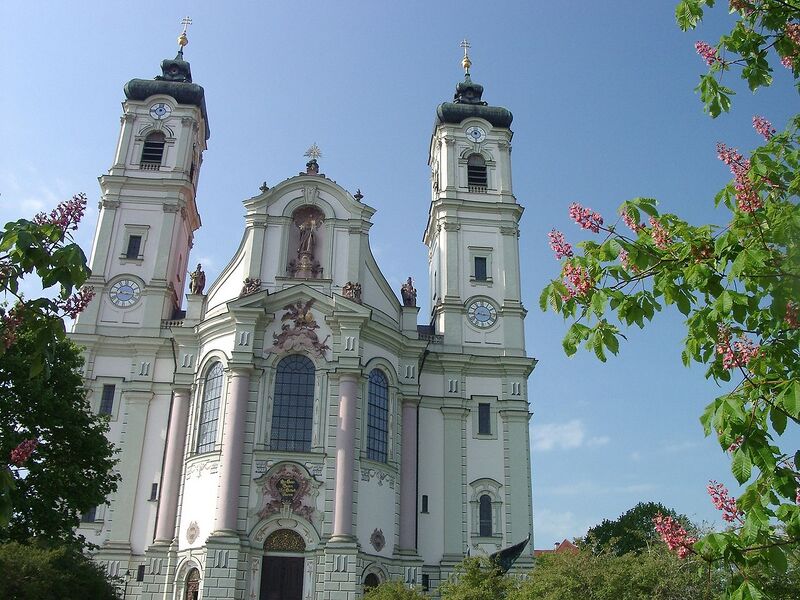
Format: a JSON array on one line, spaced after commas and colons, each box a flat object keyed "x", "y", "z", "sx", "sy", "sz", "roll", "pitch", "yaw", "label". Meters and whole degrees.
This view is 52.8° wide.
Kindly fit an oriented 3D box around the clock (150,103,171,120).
[{"x": -13.952, "y": -10.925, "z": 46.733, "sx": 0.751, "sy": 0.786, "sz": 0.018, "roll": 22, "pitch": -9, "yaw": 2, "label": "clock"}]

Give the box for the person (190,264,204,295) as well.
[{"x": -10.570, "y": -0.901, "z": 41.856, "sx": 0.760, "sy": 1.467, "sz": 0.639, "roll": 13, "pitch": -27, "yaw": -28, "label": "person"}]

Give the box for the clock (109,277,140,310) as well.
[{"x": -14.648, "y": -0.278, "z": 42.576, "sx": 1.413, "sy": 1.492, "sz": 0.155, "roll": 14, "pitch": -22, "yaw": 12, "label": "clock"}]

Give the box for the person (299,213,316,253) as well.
[{"x": -4.610, "y": -3.265, "z": 40.510, "sx": 0.456, "sy": 2.449, "sz": 0.933, "roll": -16, "pitch": -28, "yaw": 33, "label": "person"}]

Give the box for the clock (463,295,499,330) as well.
[{"x": 4.253, "y": 0.732, "z": 43.178, "sx": 1.631, "sy": 1.712, "sz": 0.185, "roll": 15, "pitch": -37, "yaw": 3, "label": "clock"}]
